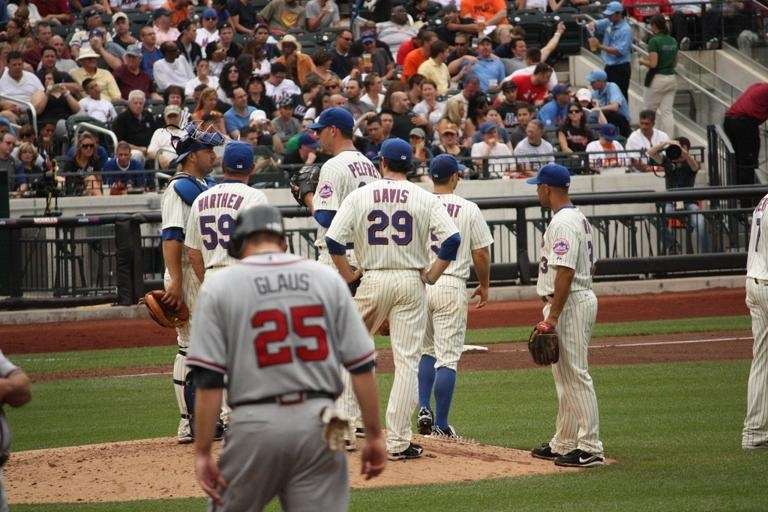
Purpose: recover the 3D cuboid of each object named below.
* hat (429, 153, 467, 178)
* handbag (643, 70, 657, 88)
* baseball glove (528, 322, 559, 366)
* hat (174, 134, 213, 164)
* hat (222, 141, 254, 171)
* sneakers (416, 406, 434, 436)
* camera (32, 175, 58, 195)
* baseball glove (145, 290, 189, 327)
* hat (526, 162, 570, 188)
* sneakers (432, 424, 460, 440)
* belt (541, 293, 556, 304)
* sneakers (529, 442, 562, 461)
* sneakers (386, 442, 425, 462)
[{"bbox_3d":[0.951,-1.352,22.567,0.377,0.313,0.599,4,28,22],"label":"hat"},{"bbox_3d":[5.675,-3.809,32.499,0.106,0.310,0.231,19,-2,-4],"label":"handbag"},{"bbox_3d":[2.264,1.247,21.523,0.424,0.638,0.230,-2,2,6],"label":"baseball glove"},{"bbox_3d":[-2.833,-1.612,22.077,0.537,0.293,0.419,-29,14,-6],"label":"hat"},{"bbox_3d":[-2.106,-1.485,21.846,0.307,0.257,0.485,1,36,-8],"label":"hat"},{"bbox_3d":[0.601,2.450,22.366,0.235,0.391,0.205,-2,2,1],"label":"sneakers"},{"bbox_3d":[-6.278,-1.302,28.220,0.363,0.168,0.504,-1,-2,-8],"label":"camera"},{"bbox_3d":[-3.171,0.800,21.884,0.539,0.211,0.534,34,-17,-19],"label":"baseball glove"},{"bbox_3d":[2.374,-1.121,21.883,0.518,0.280,0.369,17,24,27],"label":"hat"},{"bbox_3d":[0.881,2.602,22.264,0.455,0.198,0.172,3,-2,3],"label":"sneakers"},{"bbox_3d":[2.350,0.611,21.741,0.126,0.070,0.172,8,-11,-11],"label":"belt"},{"bbox_3d":[2.299,2.828,21.803,0.481,0.216,0.181,7,3,9],"label":"sneakers"},{"bbox_3d":[0.292,2.774,21.521,0.485,0.247,0.208,-6,9,-17],"label":"sneakers"}]
